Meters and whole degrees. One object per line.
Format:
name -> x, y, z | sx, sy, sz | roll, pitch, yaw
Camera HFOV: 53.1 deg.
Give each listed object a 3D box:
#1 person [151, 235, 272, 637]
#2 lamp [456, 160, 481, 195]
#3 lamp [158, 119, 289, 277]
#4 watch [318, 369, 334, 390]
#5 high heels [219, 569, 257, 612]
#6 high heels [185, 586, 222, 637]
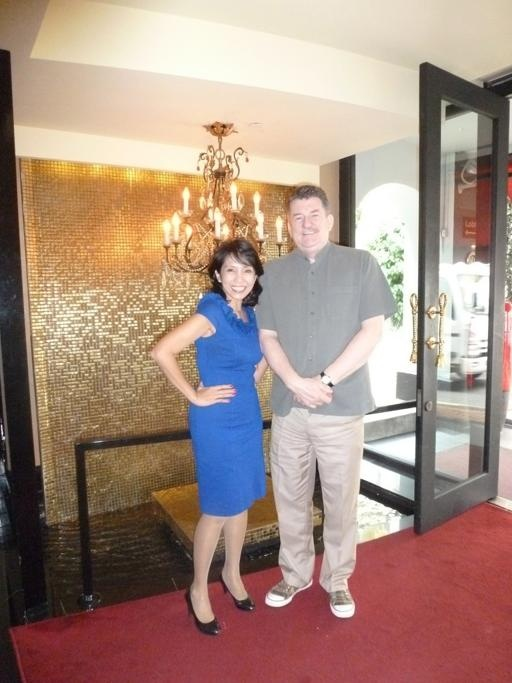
person -> -0.122, 0.341, 1.958 | 0.280, 1.442, 0.493 | 0, 5, 26
lamp -> 1.136, -0.878, 2.764 | 0.126, 0.211, 0.111 | -2, 2, 1
lamp -> -0.229, -0.819, 2.951 | 0.631, 0.792, 0.664 | 5, 10, 21
watch -> 0.255, 0.138, 1.849 | 0.038, 0.063, 0.061 | -10, -10, 14
high heels -> -0.093, 1.006, 2.082 | 0.059, 0.060, 0.241 | -1, 24, -38
high heels -> -0.179, 1.029, 1.913 | 0.070, 0.084, 0.201 | 3, 37, -53
